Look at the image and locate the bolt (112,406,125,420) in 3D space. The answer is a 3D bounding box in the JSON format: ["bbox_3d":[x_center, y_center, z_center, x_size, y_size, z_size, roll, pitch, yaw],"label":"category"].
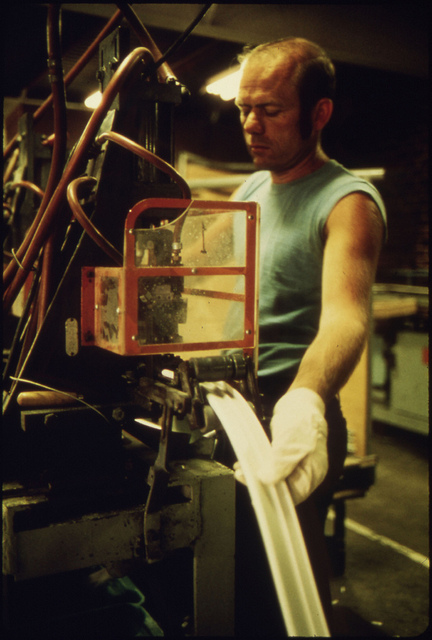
[{"bbox_3d":[-0.313,0.301,2.027,0.036,0.036,0.009,-15,13,-34],"label":"bolt"}]

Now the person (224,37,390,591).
[{"bbox_3d":[0.274,-0.218,2.249,0.544,1.595,0.673,4,-3,-30],"label":"person"}]

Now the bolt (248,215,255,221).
[{"bbox_3d":[0.103,-0.306,1.859,0.017,0.016,0.005,0,4,-32],"label":"bolt"}]

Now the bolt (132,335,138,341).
[{"bbox_3d":[-0.223,0.048,1.731,0.012,0.023,0.012,5,2,22],"label":"bolt"}]

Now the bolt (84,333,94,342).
[{"bbox_3d":[-0.407,0.054,2.022,0.020,0.038,0.038,-1,7,-17],"label":"bolt"}]

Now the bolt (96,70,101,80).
[{"bbox_3d":[-0.406,-0.859,2.191,0.011,0.033,0.029,4,-3,-24],"label":"bolt"}]

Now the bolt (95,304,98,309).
[{"bbox_3d":[-0.375,-0.044,1.978,0.008,0.015,0.015,-2,4,-18],"label":"bolt"}]

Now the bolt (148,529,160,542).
[{"bbox_3d":[-0.184,0.640,1.866,0.024,0.037,0.035,-6,4,-22],"label":"bolt"}]

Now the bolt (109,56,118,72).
[{"bbox_3d":[-0.343,-0.866,2.116,0.028,0.049,0.047,1,3,-7],"label":"bolt"}]

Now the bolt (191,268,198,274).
[{"bbox_3d":[-0.060,-0.141,1.787,0.005,0.017,0.020,0,-4,44],"label":"bolt"}]

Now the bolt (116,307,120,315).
[{"bbox_3d":[-0.274,-0.028,1.772,0.014,0.027,0.015,2,-1,-4],"label":"bolt"}]

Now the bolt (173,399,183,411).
[{"bbox_3d":[-0.106,0.235,1.738,0.021,0.030,0.031,4,3,-14],"label":"bolt"}]

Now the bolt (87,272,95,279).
[{"bbox_3d":[-0.397,-0.143,1.999,0.026,0.020,0.007,1,-3,25],"label":"bolt"}]

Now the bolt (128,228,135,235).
[{"bbox_3d":[-0.228,-0.242,1.704,0.003,0.013,0.014,7,6,33],"label":"bolt"}]
